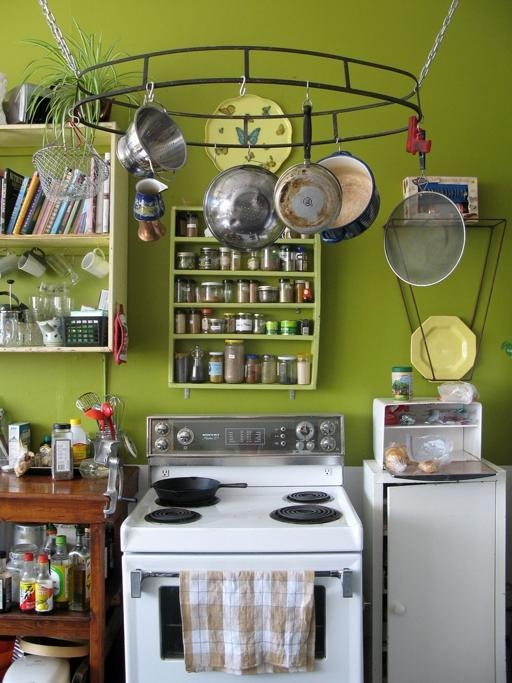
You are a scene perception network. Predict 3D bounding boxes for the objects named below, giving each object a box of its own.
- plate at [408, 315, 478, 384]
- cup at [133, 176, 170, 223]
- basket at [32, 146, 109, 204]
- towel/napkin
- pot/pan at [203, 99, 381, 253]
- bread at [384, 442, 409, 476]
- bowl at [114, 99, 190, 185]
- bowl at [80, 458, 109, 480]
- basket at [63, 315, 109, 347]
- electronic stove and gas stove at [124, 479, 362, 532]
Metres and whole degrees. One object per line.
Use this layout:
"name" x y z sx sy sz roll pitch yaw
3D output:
"plate" 0.754 0.031 2.662 0.253 0.266 0.055 1 -3 -9
"cup" -0.279 -0.410 1.871 0.134 0.098 0.119 1 -44 -7
"basket" -0.526 -0.472 1.836 0.201 0.084 0.192 -3 -15 8
"towel/napkin" -0.020 0.849 1.984 0.340 0.222 0.027 0 -8 0
"pot/pan" 0.066 -0.332 1.526 0.338 0.418 0.167 1 20 -2
"bread" 0.515 0.429 2.415 0.089 0.024 0.079 -15 27 -14
"bowl" -0.222 -0.433 1.491 0.161 0.204 0.100 2 -17 -45
"bowl" -0.601 0.475 2.430 0.099 0.050 0.106 2 1 0
"basket" -0.633 -0.038 2.450 0.205 0.140 0.107 0 -1 -1
"electronic stove and gas stove" -0.046 0.565 2.319 0.747 0.073 0.462 1 -3 1
